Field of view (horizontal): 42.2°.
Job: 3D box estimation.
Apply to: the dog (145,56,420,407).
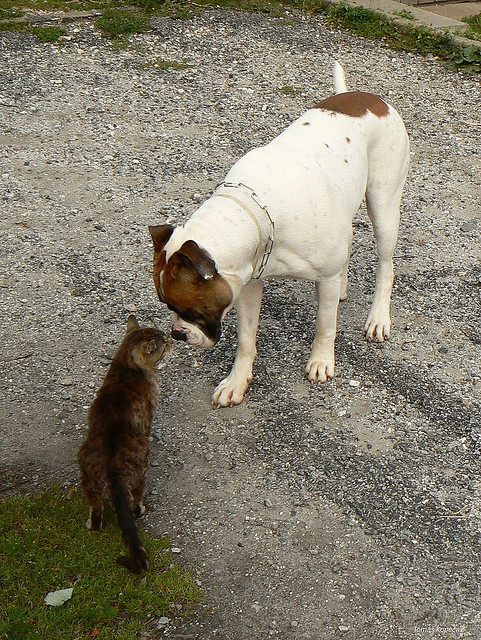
[{"bbox_3d":[0.287,-0.377,3.232,0.711,1.395,2.250,14,34,30],"label":"dog"}]
